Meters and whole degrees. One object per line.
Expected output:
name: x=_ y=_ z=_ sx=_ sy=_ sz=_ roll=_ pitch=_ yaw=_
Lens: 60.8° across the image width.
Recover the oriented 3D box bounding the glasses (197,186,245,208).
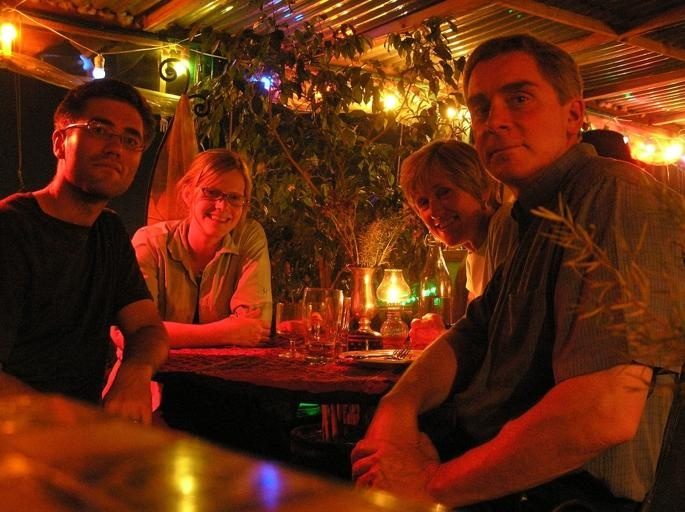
glasses: x=-0.574 y=-0.284 z=2.804 sx=0.130 sy=0.037 sz=0.125 roll=16 pitch=-22 yaw=-22

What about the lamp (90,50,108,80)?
lamp: x=-2.175 y=-1.700 z=5.208 sx=0.124 sy=0.318 sz=0.396 roll=2 pitch=-2 yaw=-23
